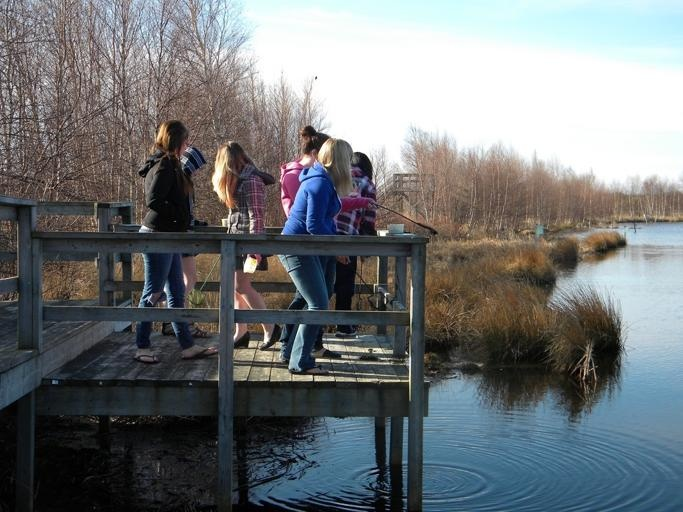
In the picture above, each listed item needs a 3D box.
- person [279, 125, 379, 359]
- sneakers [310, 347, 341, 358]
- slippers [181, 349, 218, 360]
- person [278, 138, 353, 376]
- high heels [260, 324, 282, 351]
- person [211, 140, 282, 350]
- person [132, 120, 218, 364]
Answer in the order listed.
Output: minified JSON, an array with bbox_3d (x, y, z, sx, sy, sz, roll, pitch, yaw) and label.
[{"bbox_3d":[-0.119,-0.076,8.294,0.888,2.742,0.786,-5,17,-10],"label":"person"},{"bbox_3d":[-0.163,0.960,7.696,0.292,0.142,0.112,0,-1,-1],"label":"sneakers"},{"bbox_3d":[-1.401,0.916,7.375,0.310,0.099,0.121,-4,4,-10],"label":"slippers"},{"bbox_3d":[-0.263,0.013,7.157,0.635,2.195,0.958,6,13,29],"label":"person"},{"bbox_3d":[-0.763,0.819,7.967,0.101,0.354,0.153,16,-28,20],"label":"high heels"},{"bbox_3d":[-0.970,-0.073,7.709,0.632,2.156,0.902,-2,11,-7],"label":"person"},{"bbox_3d":[-1.650,-0.121,7.220,0.741,2.292,0.706,-5,12,-20],"label":"person"}]
